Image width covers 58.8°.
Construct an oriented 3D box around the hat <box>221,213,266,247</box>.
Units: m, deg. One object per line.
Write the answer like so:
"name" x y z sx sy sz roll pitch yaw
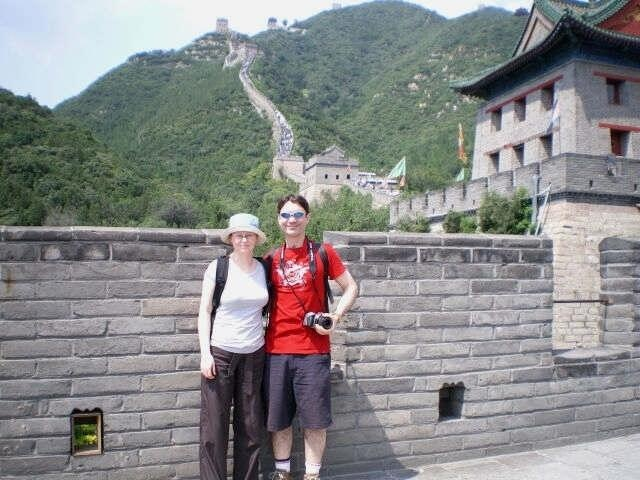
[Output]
"hat" -0.524 -0.093 3.973 0.232 0.120 0.236 0 -19 -1
